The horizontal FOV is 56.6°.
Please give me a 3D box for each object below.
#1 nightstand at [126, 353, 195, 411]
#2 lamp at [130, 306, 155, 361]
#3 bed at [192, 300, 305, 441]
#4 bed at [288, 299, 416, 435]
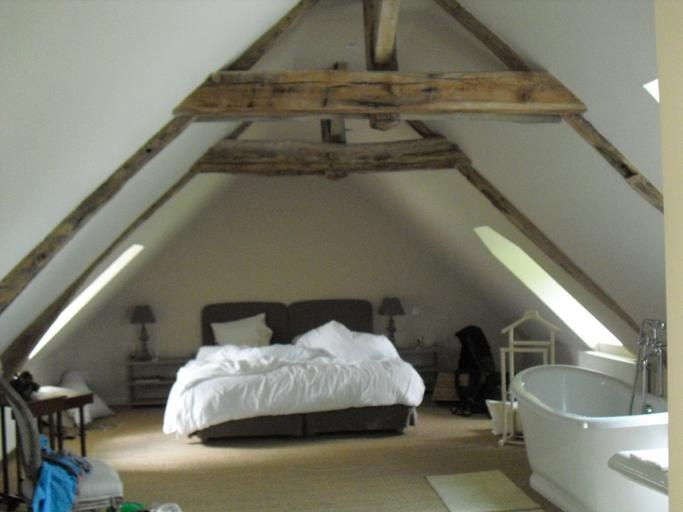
[{"bbox_3d":[-2.114,1.429,7.276,0.677,0.535,0.330,-1,2,-20],"label":"nightstand"},{"bbox_3d":[-2.287,0.879,7.299,0.291,0.626,0.327,-1,3,-19],"label":"lamp"},{"bbox_3d":[-1.076,1.164,6.960,0.897,0.945,1.392,-1,8,-6],"label":"bed"},{"bbox_3d":[0.070,1.169,6.623,0.859,0.891,1.487,0,-6,-5],"label":"bed"}]
